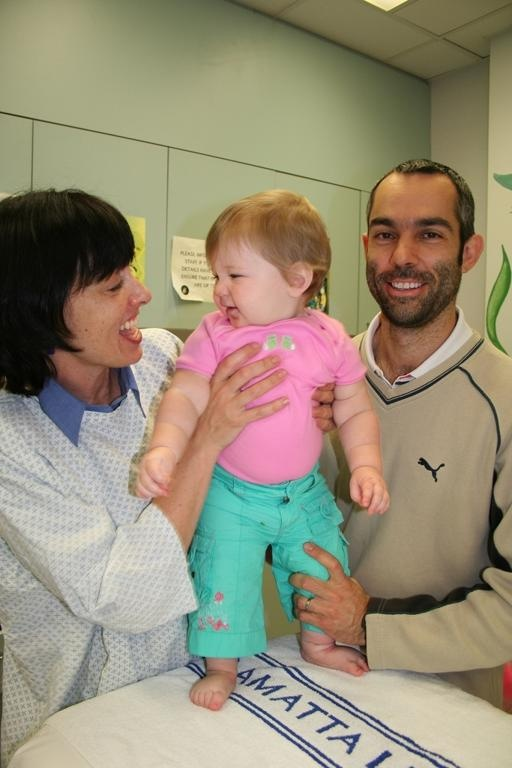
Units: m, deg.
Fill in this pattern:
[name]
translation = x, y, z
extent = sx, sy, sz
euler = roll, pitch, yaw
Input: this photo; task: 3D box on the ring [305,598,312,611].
[ring]
translation = 0.098, 0.414, 1.193
extent = 0.020, 0.019, 0.017
euler = 2, -2, 8
